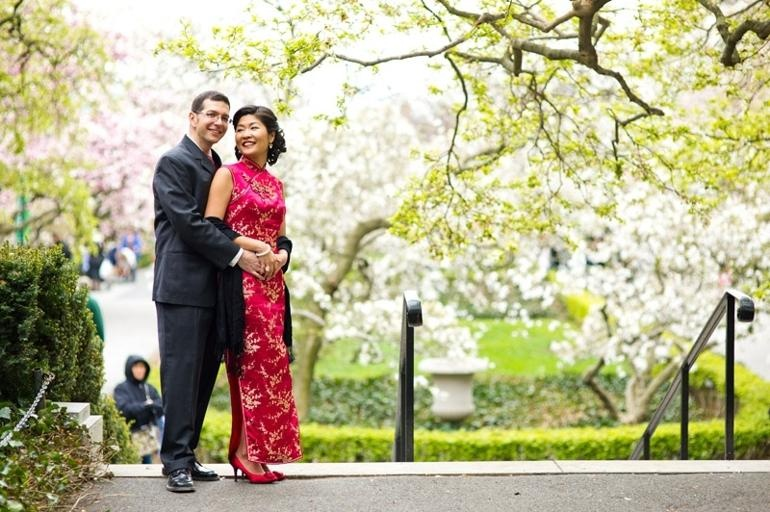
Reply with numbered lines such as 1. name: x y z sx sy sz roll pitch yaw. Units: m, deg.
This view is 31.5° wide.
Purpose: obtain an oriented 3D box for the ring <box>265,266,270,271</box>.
1. ring: -1.051 0.106 12.205 0.049 0.047 0.012 3 2 -8

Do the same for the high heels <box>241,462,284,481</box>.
1. high heels: -1.083 1.924 12.232 0.415 0.175 0.141 -5 -7 16

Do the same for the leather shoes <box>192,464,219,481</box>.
1. leather shoes: -1.617 1.938 12.233 0.274 0.111 0.117 0 -3 16

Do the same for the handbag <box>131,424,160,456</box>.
1. handbag: -2.510 1.917 14.279 0.227 0.273 0.384 -26 3 -26

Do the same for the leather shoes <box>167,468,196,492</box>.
1. leather shoes: -1.810 1.972 12.055 0.155 0.149 0.357 3 -9 -15

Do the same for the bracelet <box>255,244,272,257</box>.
1. bracelet: -1.072 -0.043 12.193 0.109 0.029 0.108 0 -46 -23
